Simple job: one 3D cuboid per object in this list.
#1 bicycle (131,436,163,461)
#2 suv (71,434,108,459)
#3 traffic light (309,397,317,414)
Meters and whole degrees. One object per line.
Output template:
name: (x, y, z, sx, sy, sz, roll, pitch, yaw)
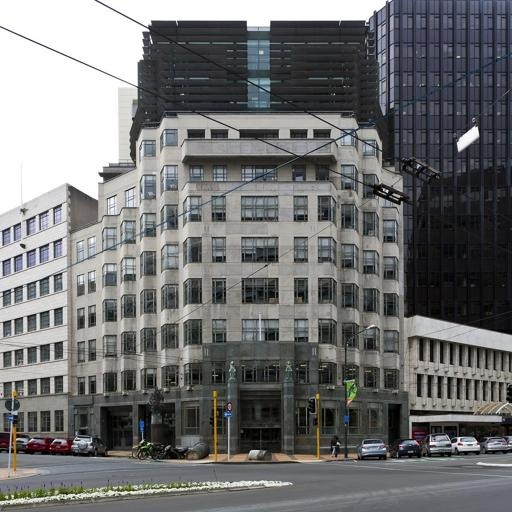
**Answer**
bicycle: (-7.920, 14.190, 91.396, 2.273, 1.589, 0.928, -13, -19, 33)
suv: (-13.123, 15.000, 98.838, 1.374, 1.300, 2.483, -2, -5, 22)
traffic light: (4.084, 10.823, 90.516, 0.539, 1.065, 0.689, -5, -15, 10)
